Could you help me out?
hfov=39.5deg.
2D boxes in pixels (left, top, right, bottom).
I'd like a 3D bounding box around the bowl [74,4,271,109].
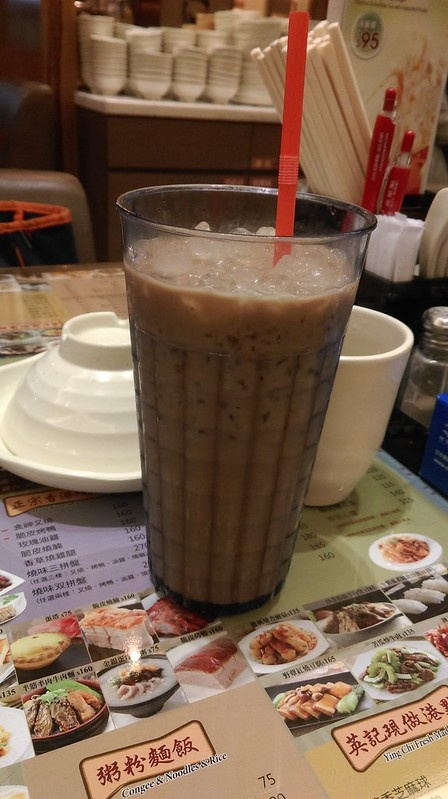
[{"bbox_3d":[-0.180,-1.525,2.769,0.860,0.394,0.438,-8,36,-25],"label":"bowl"}]
